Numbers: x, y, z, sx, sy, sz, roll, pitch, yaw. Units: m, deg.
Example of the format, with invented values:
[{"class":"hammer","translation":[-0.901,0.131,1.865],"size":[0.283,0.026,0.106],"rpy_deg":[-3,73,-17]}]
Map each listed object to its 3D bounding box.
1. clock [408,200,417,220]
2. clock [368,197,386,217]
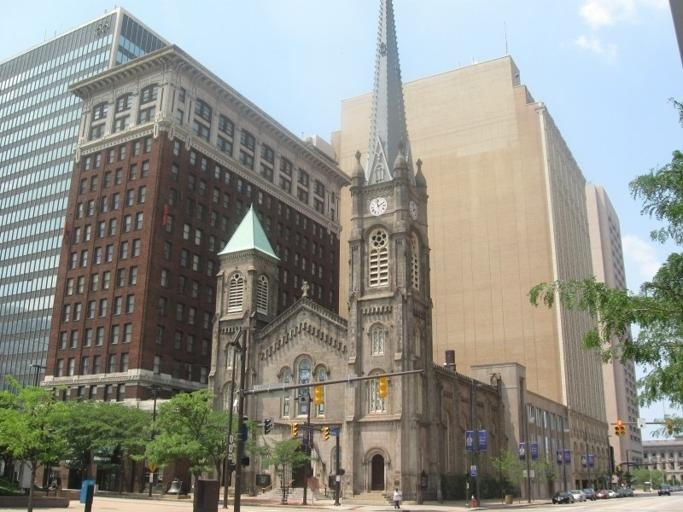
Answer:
[{"class":"clock","translation":[7.989,-5.038,75.225],"size":[0.157,2.500,1.940],"rpy_deg":[-12,-23,28]},{"class":"clock","translation":[3.935,-5.280,74.161],"size":[1.782,1.953,0.202],"rpy_deg":[-15,-34,23]}]
